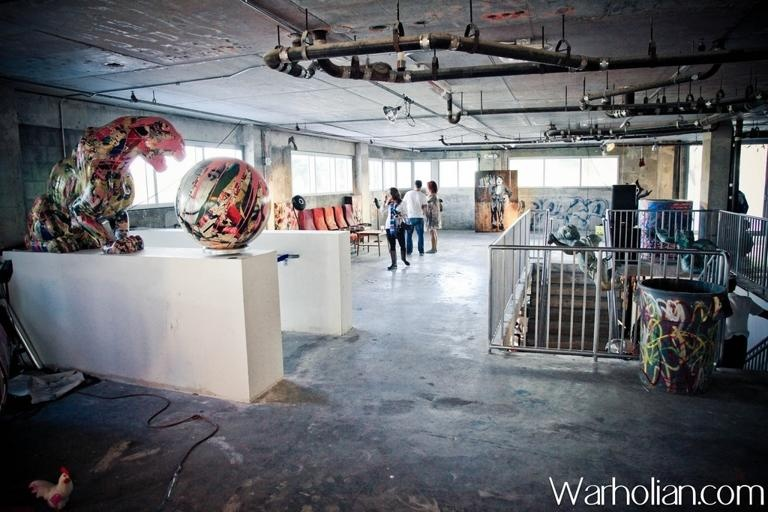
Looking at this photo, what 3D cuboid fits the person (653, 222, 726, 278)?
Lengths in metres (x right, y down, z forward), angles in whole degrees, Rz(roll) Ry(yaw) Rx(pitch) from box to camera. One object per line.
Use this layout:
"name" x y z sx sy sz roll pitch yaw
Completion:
"person" 5.417 -0.114 8.370 0.980 0.447 0.966 -31 30 -15

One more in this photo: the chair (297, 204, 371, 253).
"chair" -1.439 -0.778 13.374 1.610 1.334 2.715 -1 7 -1

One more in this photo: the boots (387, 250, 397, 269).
"boots" 0.195 0.062 10.745 0.194 0.434 0.420 -1 7 0

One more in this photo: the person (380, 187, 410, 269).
"person" 0.313 -0.686 11.013 0.557 1.862 1.186 -1 8 3
